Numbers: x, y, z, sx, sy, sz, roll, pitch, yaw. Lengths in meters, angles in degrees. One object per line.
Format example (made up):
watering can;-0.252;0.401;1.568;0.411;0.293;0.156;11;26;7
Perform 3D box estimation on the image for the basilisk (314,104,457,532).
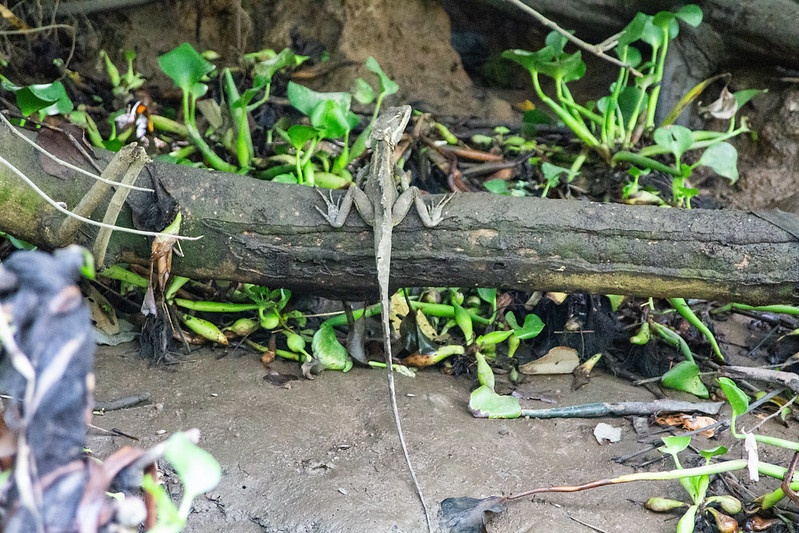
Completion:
basilisk;-0.146;0.042;6.064;0.872;0.311;2.646;5;69;-9
